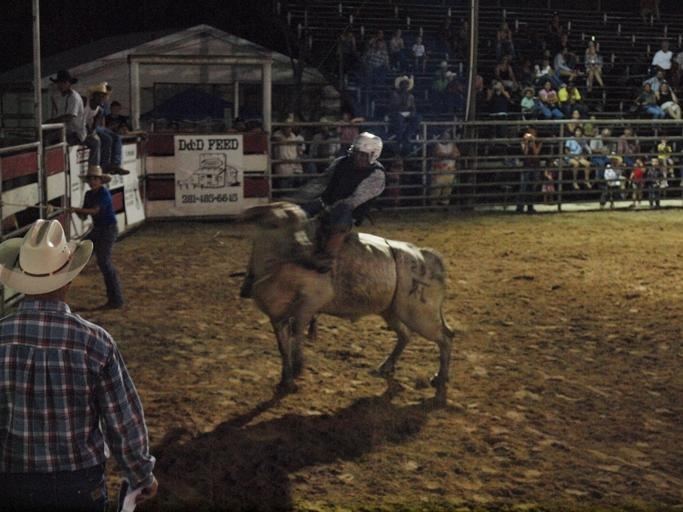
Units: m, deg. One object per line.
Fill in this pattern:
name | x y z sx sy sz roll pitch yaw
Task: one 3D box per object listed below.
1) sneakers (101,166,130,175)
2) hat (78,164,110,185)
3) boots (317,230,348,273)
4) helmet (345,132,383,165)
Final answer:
sneakers | -3.866 -1.447 12.926 0.492 0.201 0.153 -10 18 -35
hat | -3.467 -1.127 10.556 0.472 0.198 0.517 -1 -12 -12
boots | -0.131 -0.066 7.117 0.241 0.435 0.158 15 -14 23
helmet | 0.254 -1.101 7.748 0.322 0.371 0.426 7 4 22
